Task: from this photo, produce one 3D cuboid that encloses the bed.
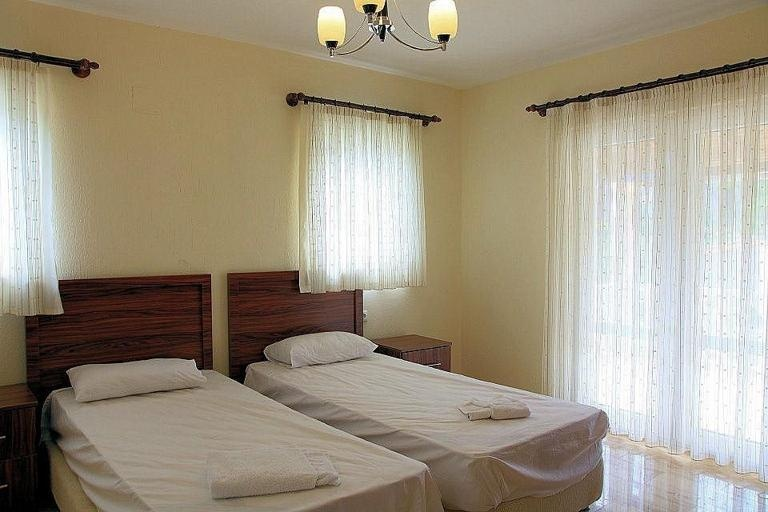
[{"bbox_3d":[-1.265,0.910,5.015,3.094,1.501,1.233,-2,4,-41],"label":"bed"}]
